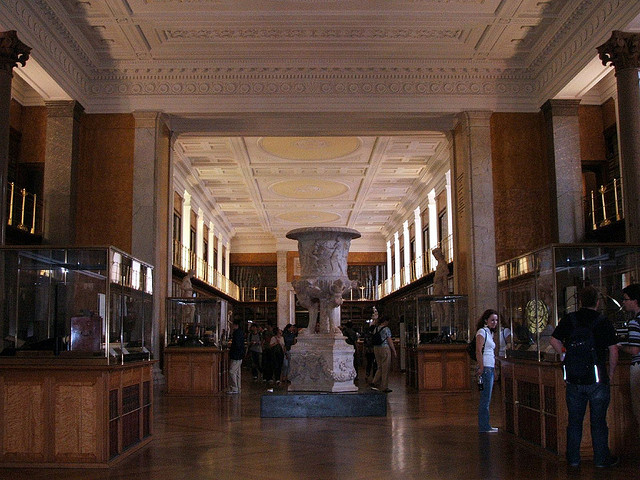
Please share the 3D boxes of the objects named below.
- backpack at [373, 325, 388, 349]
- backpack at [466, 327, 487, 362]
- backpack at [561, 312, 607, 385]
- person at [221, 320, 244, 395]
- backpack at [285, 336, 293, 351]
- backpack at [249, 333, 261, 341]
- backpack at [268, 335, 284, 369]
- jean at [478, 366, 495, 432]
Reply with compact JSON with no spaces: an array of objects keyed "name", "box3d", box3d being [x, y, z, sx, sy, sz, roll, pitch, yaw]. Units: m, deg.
[{"name":"backpack","box3d":[1.118,1.874,10.497,0.364,0.405,0.254,-2,-6,-7]},{"name":"backpack","box3d":[1.951,1.289,6.644,0.188,0.381,0.745,-3,-11,10]},{"name":"backpack","box3d":[2.446,0.974,4.967,0.345,0.671,0.307,2,-3,17]},{"name":"person","box3d":[-1.886,2.534,11.764,0.442,1.518,1.610,1,-11,-9]},{"name":"backpack","box3d":[-0.766,2.587,13.483,0.191,0.352,0.346,0,-11,-3]},{"name":"backpack","box3d":[-1.674,2.529,14.033,0.230,0.258,0.247,-6,-13,21]},{"name":"backpack","box3d":[-1.066,2.888,13.727,0.346,0.765,0.505,-8,-13,35]},{"name":"jean","box3d":[2.036,1.937,6.564,0.189,0.801,0.670,-3,-11,15]}]
